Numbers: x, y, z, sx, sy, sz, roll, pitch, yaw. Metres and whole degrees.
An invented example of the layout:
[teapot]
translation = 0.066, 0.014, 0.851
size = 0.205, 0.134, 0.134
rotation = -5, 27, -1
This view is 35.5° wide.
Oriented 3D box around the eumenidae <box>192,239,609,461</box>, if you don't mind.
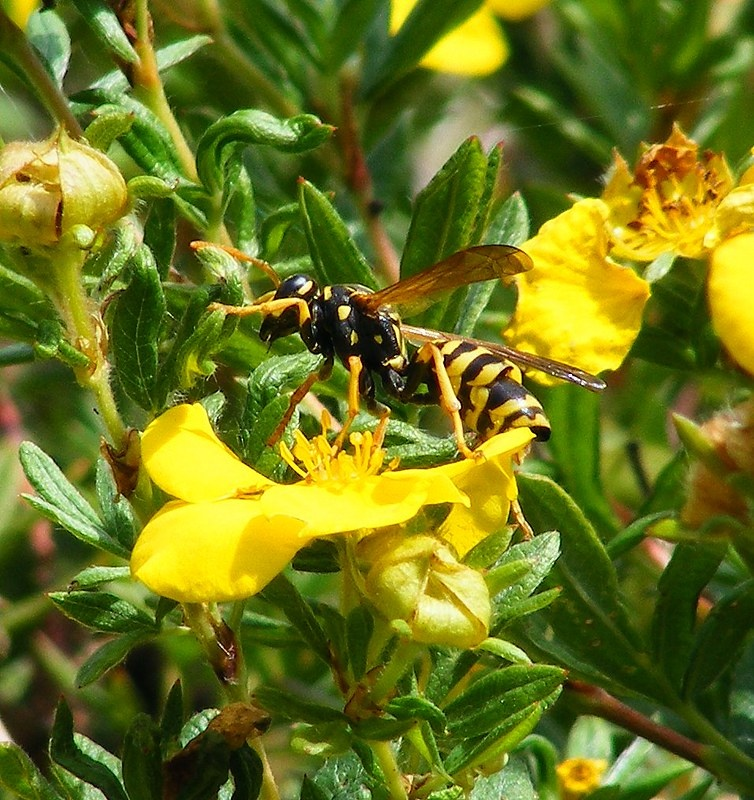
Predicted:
[eumenidae]
translation = 0.025, -0.059, 1.392
size = 0.429, 0.249, 0.185
rotation = 10, 78, -4
